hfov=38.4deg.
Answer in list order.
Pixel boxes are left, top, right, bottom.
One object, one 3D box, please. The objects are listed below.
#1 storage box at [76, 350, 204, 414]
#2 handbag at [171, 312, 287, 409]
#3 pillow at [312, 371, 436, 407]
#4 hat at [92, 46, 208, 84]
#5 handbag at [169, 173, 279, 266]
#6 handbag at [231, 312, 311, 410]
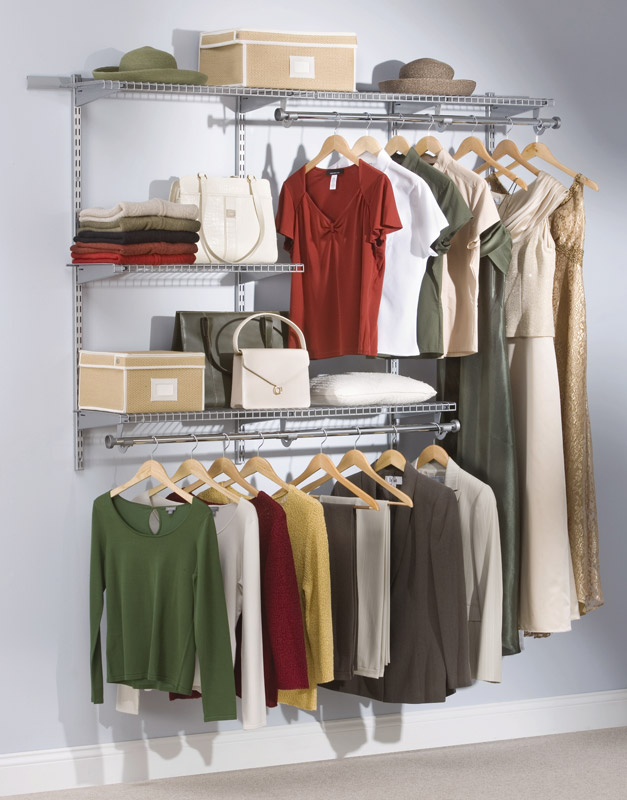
[{"bbox_3d":[-0.414,-0.047,2.371,0.222,0.140,0.224,-1,3,-24],"label":"storage box"},{"bbox_3d":[-0.237,-0.101,2.444,0.262,0.234,0.110,0,5,-28],"label":"handbag"},{"bbox_3d":[0.163,-0.029,2.589,0.332,0.094,0.176,-3,7,-28],"label":"pillow"},{"bbox_3d":[-0.444,-0.905,2.446,0.295,0.109,0.167,-1,6,-5],"label":"hat"},{"bbox_3d":[-0.235,-0.495,2.471,0.261,0.240,0.071,-2,6,-17],"label":"handbag"},{"bbox_3d":[-0.119,-0.112,2.500,0.234,0.262,0.270,-1,6,-13],"label":"handbag"}]
